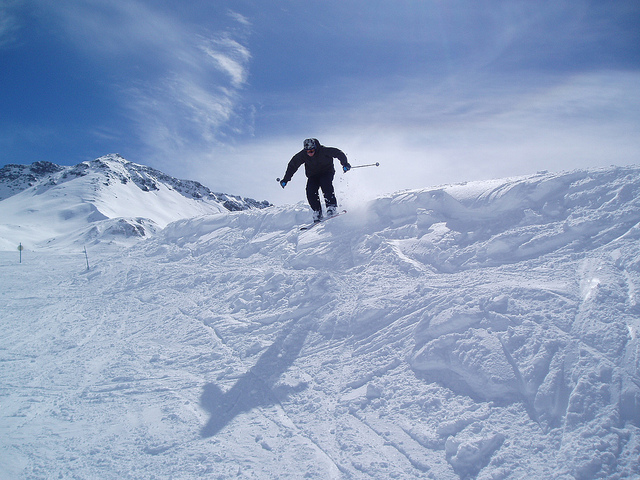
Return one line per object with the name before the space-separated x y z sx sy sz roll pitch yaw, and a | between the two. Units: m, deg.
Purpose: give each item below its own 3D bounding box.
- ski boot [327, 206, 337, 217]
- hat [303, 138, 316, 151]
ski boot | 0.411 -1.040 23.425 0.315 0.341 0.359 -3 6 1
hat | -0.391 -3.355 23.063 0.423 0.386 0.368 -2 6 9
